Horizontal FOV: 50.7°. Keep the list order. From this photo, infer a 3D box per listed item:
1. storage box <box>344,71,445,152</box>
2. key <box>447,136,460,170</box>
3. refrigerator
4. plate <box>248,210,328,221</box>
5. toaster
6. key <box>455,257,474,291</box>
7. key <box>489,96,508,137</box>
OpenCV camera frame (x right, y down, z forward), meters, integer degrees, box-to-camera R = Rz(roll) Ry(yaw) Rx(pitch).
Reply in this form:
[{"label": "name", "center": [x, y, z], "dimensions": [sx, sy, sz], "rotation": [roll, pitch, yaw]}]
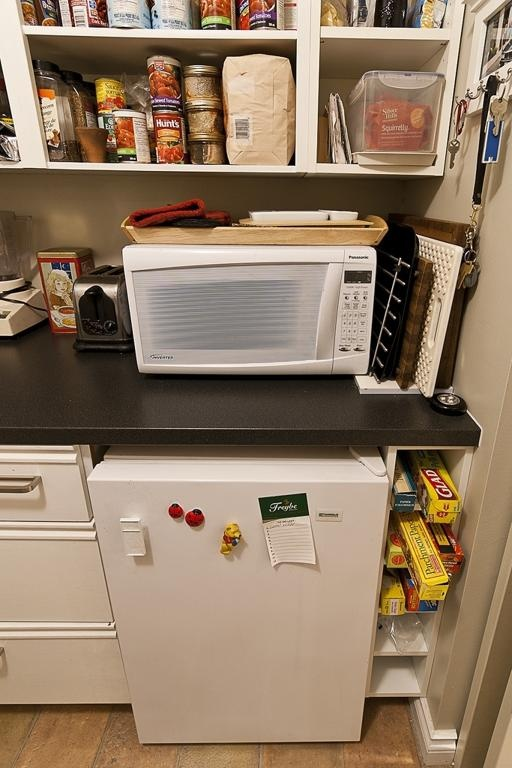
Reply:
[{"label": "storage box", "center": [0.300, -0.594, 1.236], "dimensions": [0.180, 0.181, 0.165], "rotation": [1, 23, -8]}, {"label": "key", "center": [0.411, -0.483, 1.140], "dimensions": [0.021, 0.067, 0.081], "rotation": [8, 32, 17]}, {"label": "refrigerator", "center": [-0.017, 0.380, 1.378], "dimensions": [0.534, 0.842, 0.609], "rotation": [-1, 18, -1]}, {"label": "plate", "center": [0.070, -0.358, 1.157], "dimensions": [0.163, 0.020, 0.066], "rotation": [1, 32, 3]}, {"label": "toaster", "center": [-0.402, -0.224, 1.474], "dimensions": [0.141, 0.183, 0.239], "rotation": [0, 24, -2]}, {"label": "key", "center": [0.399, -0.209, 1.035], "dimensions": [0.027, 0.069, 0.045], "rotation": [5, 30, 11]}, {"label": "key", "center": [0.391, -0.442, 0.886], "dimensions": [0.028, 0.053, 0.025], "rotation": [13, 32, 25]}]
